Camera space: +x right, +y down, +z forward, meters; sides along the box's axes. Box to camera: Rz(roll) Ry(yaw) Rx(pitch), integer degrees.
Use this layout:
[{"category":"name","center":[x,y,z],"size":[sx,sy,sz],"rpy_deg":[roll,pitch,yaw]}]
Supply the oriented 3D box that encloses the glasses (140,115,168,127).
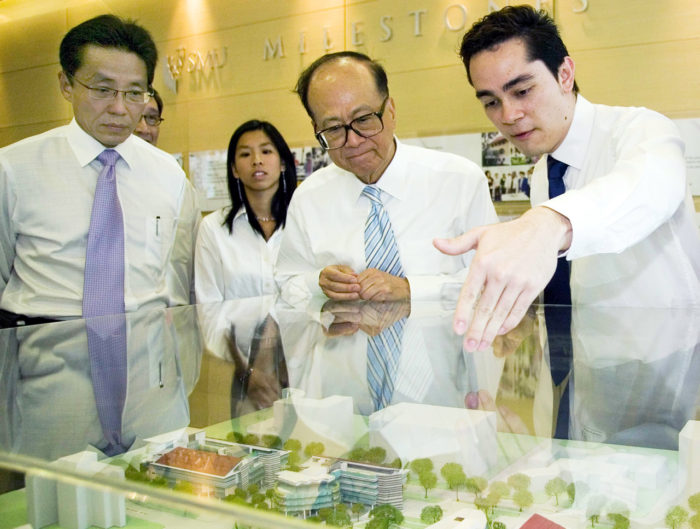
[{"category":"glasses","center":[-0.957,-0.695,2.830],"size":[0.103,0.040,0.106],"rpy_deg":[6,21,19]}]
